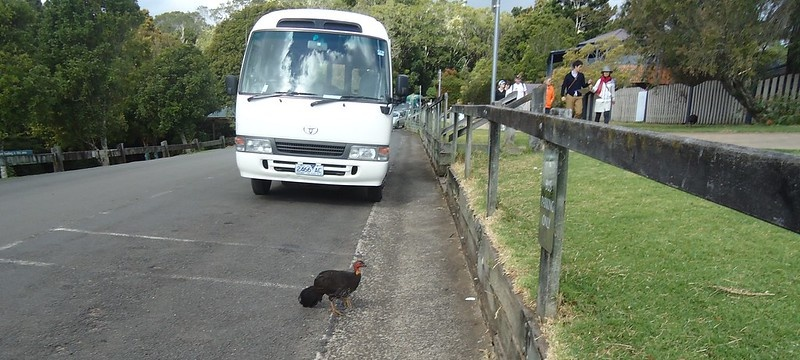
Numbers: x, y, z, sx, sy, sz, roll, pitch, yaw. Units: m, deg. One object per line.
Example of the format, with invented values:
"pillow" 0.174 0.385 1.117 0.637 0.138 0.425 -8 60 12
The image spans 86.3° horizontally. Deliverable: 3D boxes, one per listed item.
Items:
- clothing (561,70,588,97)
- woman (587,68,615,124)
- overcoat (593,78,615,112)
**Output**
"clothing" 7.264 -3.960 17.757 1.238 1.024 0.571 -1 24 5
"woman" 8.608 -3.561 18.209 1.167 2.389 0.813 2 3 2
"overcoat" 8.638 -3.569 18.173 0.793 1.357 0.637 1 13 19
